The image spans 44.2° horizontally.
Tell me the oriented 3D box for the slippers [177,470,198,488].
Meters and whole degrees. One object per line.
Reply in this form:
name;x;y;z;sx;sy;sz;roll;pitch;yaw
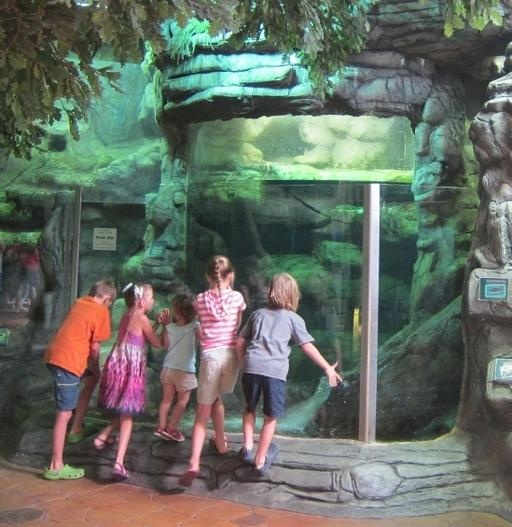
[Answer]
slippers;-0.537;1.668;4.895;0.107;0.189;0.078;18;37;-12

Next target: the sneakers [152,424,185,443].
sneakers;-0.779;1.543;5.642;0.263;0.118;0.124;23;1;-41

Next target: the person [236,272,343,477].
person;0.215;0.896;5.214;0.766;1.402;0.575;2;1;-11

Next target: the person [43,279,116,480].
person;-1.519;0.994;5.371;0.560;1.242;0.294;1;1;-36

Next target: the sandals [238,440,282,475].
sandals;0.029;1.588;5.183;0.151;0.174;0.402;-1;7;9

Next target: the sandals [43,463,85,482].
sandals;-1.634;1.780;5.354;0.262;0.108;0.152;3;-9;-13
